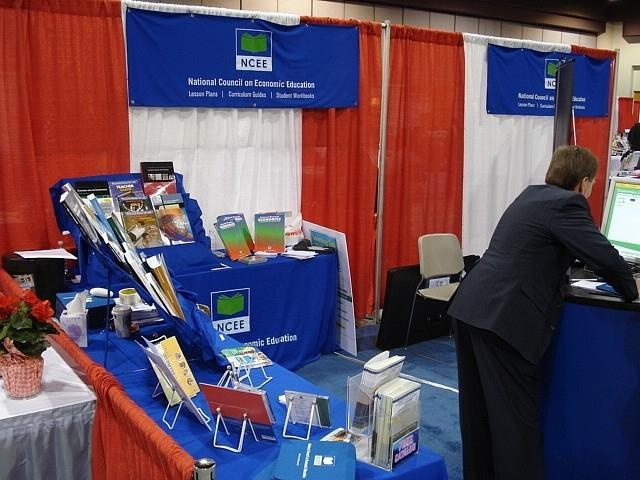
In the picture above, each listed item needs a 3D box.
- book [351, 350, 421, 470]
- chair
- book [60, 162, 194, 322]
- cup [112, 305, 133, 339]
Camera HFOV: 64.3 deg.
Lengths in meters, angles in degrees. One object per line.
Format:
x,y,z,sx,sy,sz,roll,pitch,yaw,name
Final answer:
0.258,0.641,1.933,0.283,0.306,0.210,-11,18,-41,book
1.142,0.460,4.521,0.581,0.991,0.600,-9,13,-35,chair
-0.897,0.053,2.388,0.538,0.619,0.307,6,14,16,book
-1.059,0.445,2.745,0.103,0.165,0.106,-3,-6,0,cup
